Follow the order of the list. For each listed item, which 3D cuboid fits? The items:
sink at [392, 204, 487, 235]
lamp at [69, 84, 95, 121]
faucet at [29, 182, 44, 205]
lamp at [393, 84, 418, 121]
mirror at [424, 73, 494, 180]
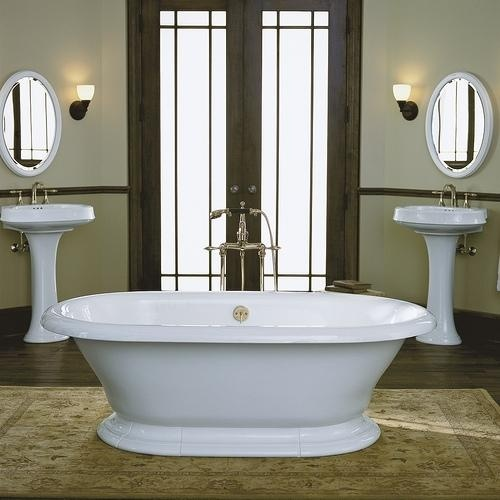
[{"bbox_3d":[1.194,-0.175,3.659,0.558,0.159,0.266,2,8,17],"label":"sink"},{"bbox_3d":[-1.337,-1.162,4.652,0.155,0.245,0.143,3,1,31],"label":"lamp"},{"bbox_3d":[-1.533,-0.405,4.178,0.090,0.159,0.506,-3,8,-20],"label":"faucet"},{"bbox_3d":[1.219,-1.145,4.548,0.159,0.277,0.176,7,11,44],"label":"lamp"},{"bbox_3d":[1.540,-0.905,4.274,0.088,0.763,0.531,-5,9,-33],"label":"mirror"}]
